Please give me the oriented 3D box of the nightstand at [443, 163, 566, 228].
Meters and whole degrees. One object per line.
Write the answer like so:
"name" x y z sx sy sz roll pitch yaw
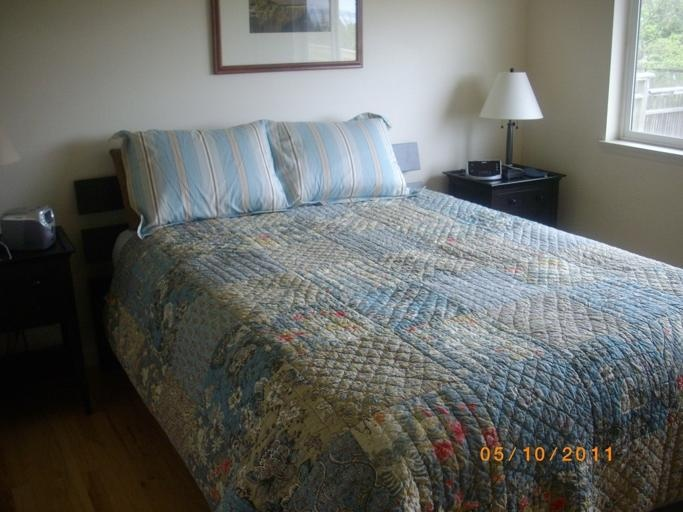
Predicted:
"nightstand" 1.158 -0.476 3.639 0.598 0.608 0.457 -14 22 -35
